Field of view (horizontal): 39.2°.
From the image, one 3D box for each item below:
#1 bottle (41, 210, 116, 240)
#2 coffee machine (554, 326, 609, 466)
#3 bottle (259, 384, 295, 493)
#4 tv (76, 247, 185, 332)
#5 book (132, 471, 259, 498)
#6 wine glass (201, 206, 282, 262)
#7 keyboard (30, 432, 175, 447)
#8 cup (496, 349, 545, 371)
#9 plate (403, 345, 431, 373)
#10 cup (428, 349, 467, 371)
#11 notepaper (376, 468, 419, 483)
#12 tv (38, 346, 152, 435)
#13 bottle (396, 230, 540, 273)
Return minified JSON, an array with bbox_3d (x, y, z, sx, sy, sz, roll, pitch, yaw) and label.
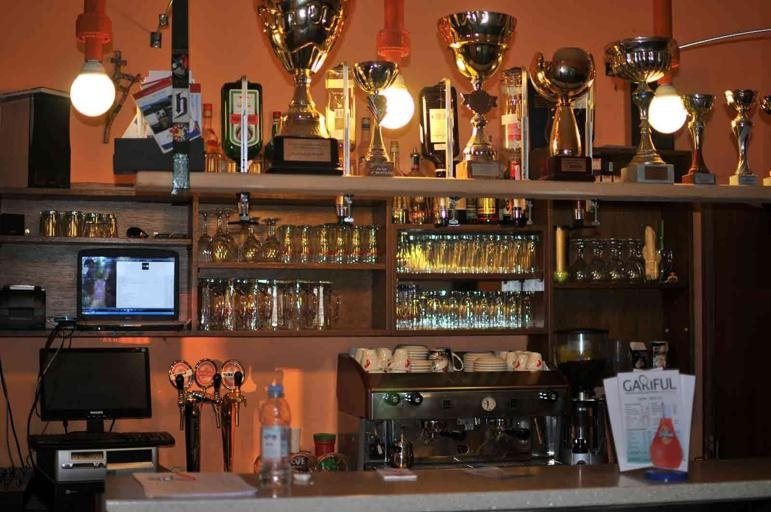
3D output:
[{"bbox_3d":[-1.931,-0.187,6.811,0.465,0.167,0.104,1,-5,-15],"label":"bottle"},{"bbox_3d":[1.242,0.871,6.730,0.326,0.806,0.280,-2,-5,15],"label":"coffee machine"},{"bbox_3d":[-0.527,0.872,5.169,0.158,0.509,0.304,0,-5,-5],"label":"bottle"},{"bbox_3d":[-1.621,0.227,6.783,0.498,0.403,0.041,0,-6,-6],"label":"tv"},{"bbox_3d":[-0.934,1.105,5.275,0.593,0.072,0.553,1,-5,-10],"label":"book"},{"bbox_3d":[-0.928,-0.112,7.007,0.396,0.249,0.397,1,-1,-7],"label":"wine glass"},{"bbox_3d":[-1.712,1.103,6.489,0.832,0.084,0.473,1,-5,-16],"label":"keyboard"},{"bbox_3d":[0.914,0.653,6.937,0.199,0.068,0.148,-2,2,-42],"label":"cup"},{"bbox_3d":[0.208,0.645,6.864,0.149,0.141,0.148,5,-9,-35],"label":"plate"},{"bbox_3d":[0.405,0.671,6.957,0.194,0.147,0.130,0,-2,-6],"label":"cup"},{"bbox_3d":[0.063,1.091,5.405,0.206,0.041,0.170,0,-5,1],"label":"notepaper"},{"bbox_3d":[-1.806,0.811,6.677,0.554,0.472,0.073,-1,-7,-6],"label":"tv"},{"bbox_3d":[0.545,-0.021,7.073,0.940,0.259,0.120,1,-5,-13],"label":"bottle"}]
